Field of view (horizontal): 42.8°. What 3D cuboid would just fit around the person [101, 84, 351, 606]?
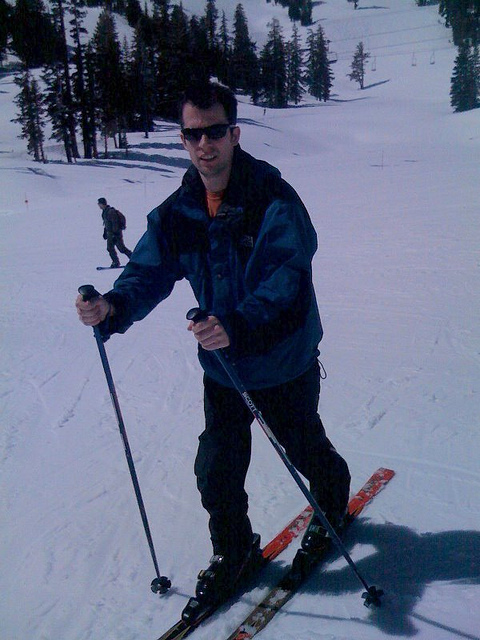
[{"bbox_3d":[-0.066,0.149,2.521,0.786,2.123,0.721,4,20,28],"label":"person"}]
